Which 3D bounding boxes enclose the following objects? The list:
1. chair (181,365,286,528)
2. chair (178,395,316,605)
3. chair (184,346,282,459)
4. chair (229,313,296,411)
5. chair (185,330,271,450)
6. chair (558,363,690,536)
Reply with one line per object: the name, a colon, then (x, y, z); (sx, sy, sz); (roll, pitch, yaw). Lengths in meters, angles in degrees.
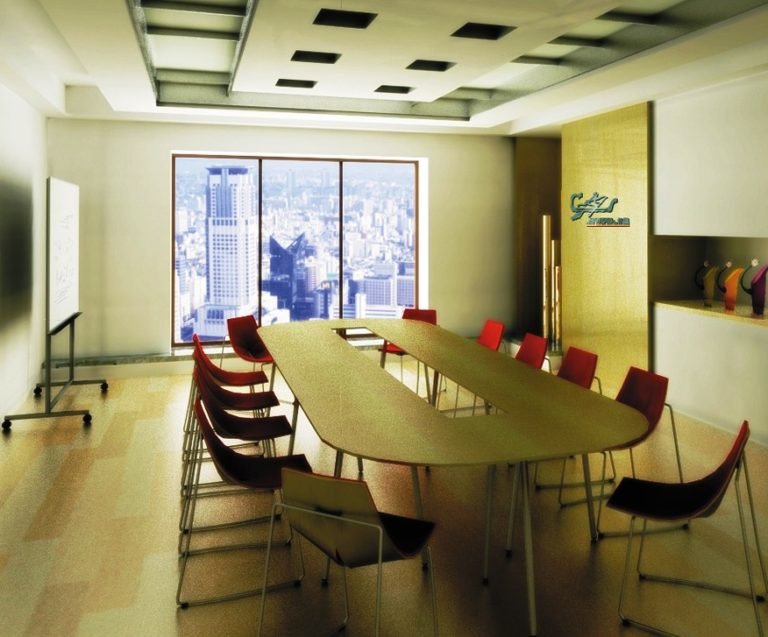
chair: (-1.124, 0.594, 4.746); (0.592, 0.690, 1.034); (1, 8, -8)
chair: (-0.858, 0.991, 3.870); (0.726, 1.016, 0.721); (2, 3, -22)
chair: (-1.200, 0.650, 5.214); (0.710, 0.813, 0.646); (-21, 43, -32)
chair: (-1.334, 0.385, 6.704); (0.486, 0.766, 0.510); (3, 10, 0)
chair: (-1.208, 0.673, 5.421); (0.737, 1.048, 0.774); (-1, 14, 8)
chair: (1.461, 0.795, 4.145); (0.664, 0.943, 0.855); (-1, 8, -10)
